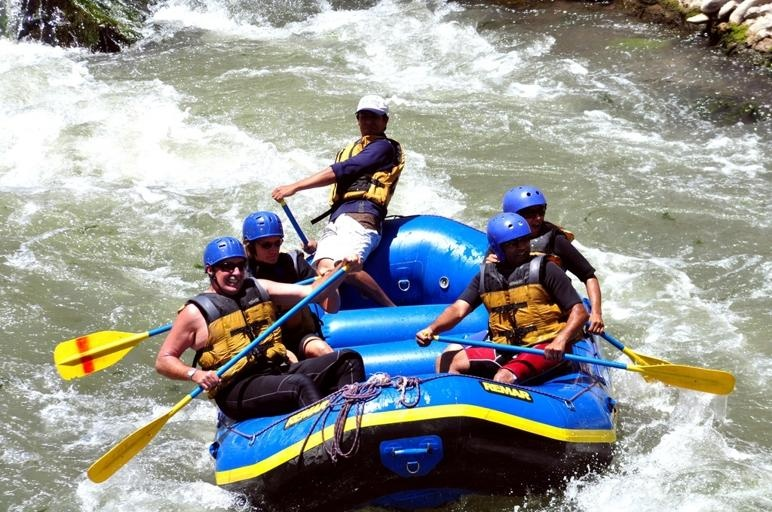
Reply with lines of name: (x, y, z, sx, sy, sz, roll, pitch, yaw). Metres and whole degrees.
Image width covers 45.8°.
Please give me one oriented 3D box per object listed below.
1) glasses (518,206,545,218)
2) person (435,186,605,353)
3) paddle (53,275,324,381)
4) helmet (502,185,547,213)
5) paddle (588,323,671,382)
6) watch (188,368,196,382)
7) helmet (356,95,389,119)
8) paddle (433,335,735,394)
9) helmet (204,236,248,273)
glasses: (1.578, -0.470, 9.865, 0.178, 0.093, 0.209, -6, -10, -25)
person: (1.707, 0.121, 9.887, 1.242, 0.734, 1.684, -27, 67, -7)
paddle: (-2.606, 0.914, 10.958, 0.148, 0.464, 3.705, -18, -2, 25)
helmet: (1.474, -0.611, 9.985, 0.318, 0.393, 0.268, 9, 57, -51)
paddle: (2.617, 1.039, 9.833, 0.844, 0.437, 0.166, 34, 11, 6)
watch: (-1.903, 1.166, 8.943, 0.071, 0.084, 0.096, 12, 26, 20)
helmet: (-0.179, -1.772, 10.788, 0.348, 0.240, 0.335, 2, 23, -1)
paddle: (2.011, 1.180, 9.669, 2.997, 0.090, 0.282, 11, 56, 6)
helmet: (-1.628, -0.022, 9.292, 0.435, 0.268, 0.300, 12, -3, -5)
